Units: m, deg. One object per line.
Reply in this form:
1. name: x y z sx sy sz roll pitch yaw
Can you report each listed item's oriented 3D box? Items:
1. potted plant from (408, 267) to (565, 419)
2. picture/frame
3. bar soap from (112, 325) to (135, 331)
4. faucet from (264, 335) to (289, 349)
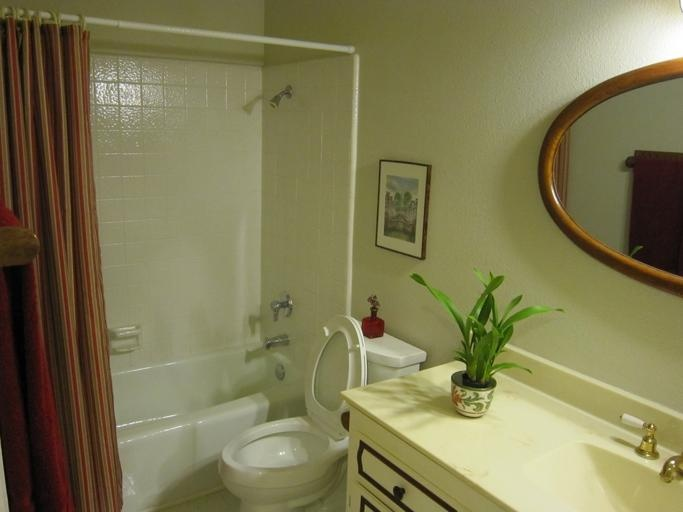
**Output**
1. potted plant: 0.546 0.275 2.030 0.421 0.470 0.501 8 15 32
2. picture/frame: 0.298 -0.225 2.583 0.046 0.525 0.373 -5 13 -40
3. bar soap: -1.226 0.403 3.074 0.137 0.032 0.014 -6 14 -23
4. faucet: -0.380 0.496 3.170 0.119 0.039 0.088 -10 25 3
